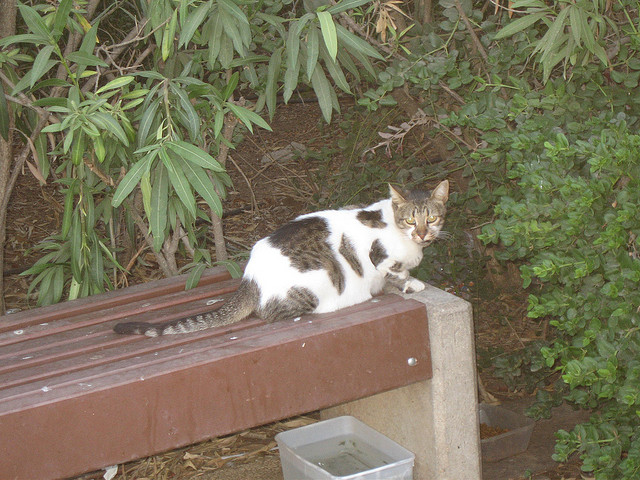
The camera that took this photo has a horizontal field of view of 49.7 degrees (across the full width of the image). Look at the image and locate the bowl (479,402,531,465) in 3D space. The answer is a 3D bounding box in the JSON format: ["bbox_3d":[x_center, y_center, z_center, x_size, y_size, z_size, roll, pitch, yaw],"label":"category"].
[{"bbox_3d":[0.812,0.861,3.142,0.220,0.093,0.298,-11,15,-24],"label":"bowl"}]
